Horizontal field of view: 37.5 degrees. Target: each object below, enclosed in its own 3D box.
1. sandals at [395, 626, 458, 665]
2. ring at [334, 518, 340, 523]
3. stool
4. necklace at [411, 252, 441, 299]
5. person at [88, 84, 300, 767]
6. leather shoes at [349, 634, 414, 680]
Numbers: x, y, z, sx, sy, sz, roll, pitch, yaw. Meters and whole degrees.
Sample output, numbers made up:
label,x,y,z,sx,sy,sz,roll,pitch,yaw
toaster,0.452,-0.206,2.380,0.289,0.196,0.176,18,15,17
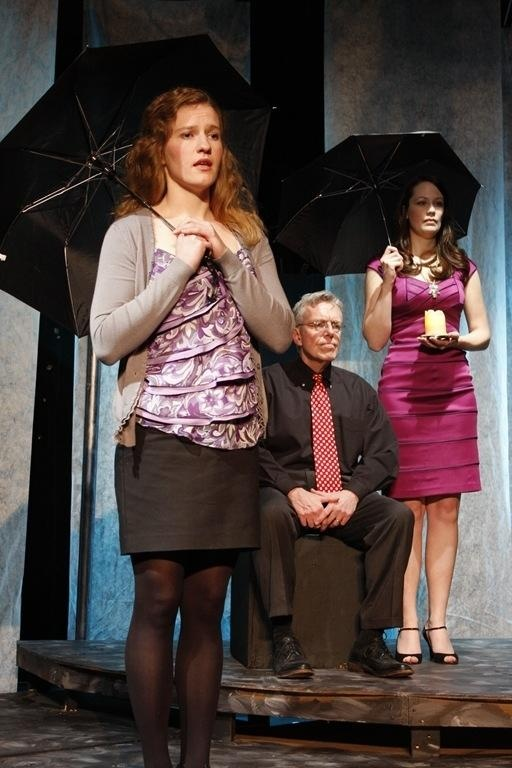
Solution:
label,x,y,z,sx,sy,sz,roll,pitch,yaw
sandals,0.518,0.831,2.407,0.091,0.105,0.271,4,-13,-21
ring,0.245,0.416,2.265,0.011,0.014,0.011,2,3,0
stool,0.185,0.610,2.423,0.361,0.478,0.492,-1,-7,27
necklace,0.584,-0.370,2.549,0.070,0.016,0.185,-1,35,3
person,-0.121,0.038,1.384,0.395,1.264,0.311,7,-15,-22
leather shoes,0.350,0.756,2.103,0.089,0.108,0.216,7,-15,-22
